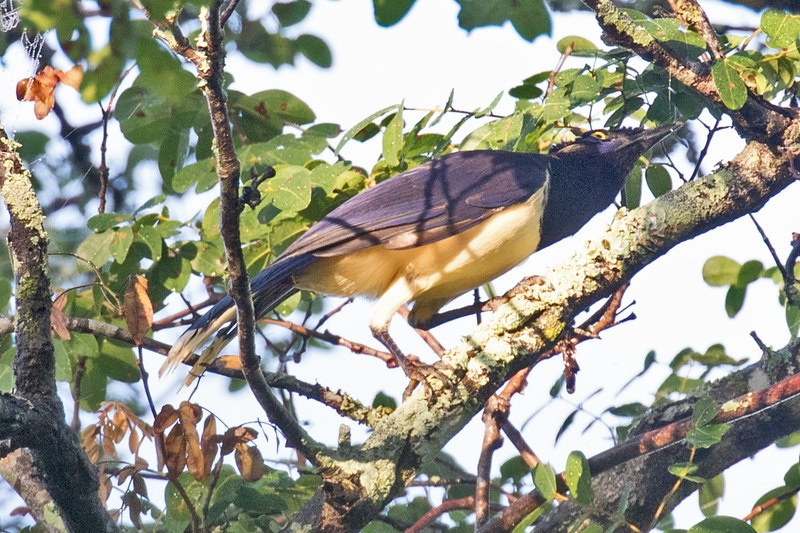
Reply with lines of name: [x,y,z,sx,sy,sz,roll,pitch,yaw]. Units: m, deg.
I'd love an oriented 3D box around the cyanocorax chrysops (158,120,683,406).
cyanocorax chrysops: [0.046,-0.040,8.203,2.784,1.431,0.786,-2,-21,5]
